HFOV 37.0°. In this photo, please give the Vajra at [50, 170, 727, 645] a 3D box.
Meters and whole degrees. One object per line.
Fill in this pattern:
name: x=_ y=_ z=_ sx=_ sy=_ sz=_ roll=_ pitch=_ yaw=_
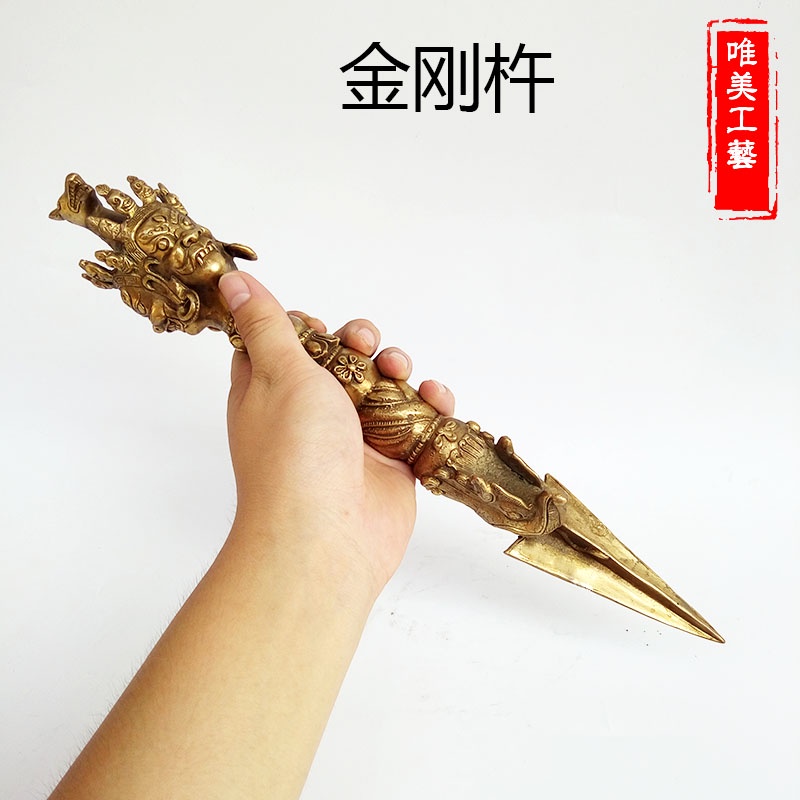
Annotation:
Vajra: x=-0.119 y=0.097 z=2.329 sx=1.717 sy=0.297 sz=0.366 roll=24 pitch=49 yaw=-9
